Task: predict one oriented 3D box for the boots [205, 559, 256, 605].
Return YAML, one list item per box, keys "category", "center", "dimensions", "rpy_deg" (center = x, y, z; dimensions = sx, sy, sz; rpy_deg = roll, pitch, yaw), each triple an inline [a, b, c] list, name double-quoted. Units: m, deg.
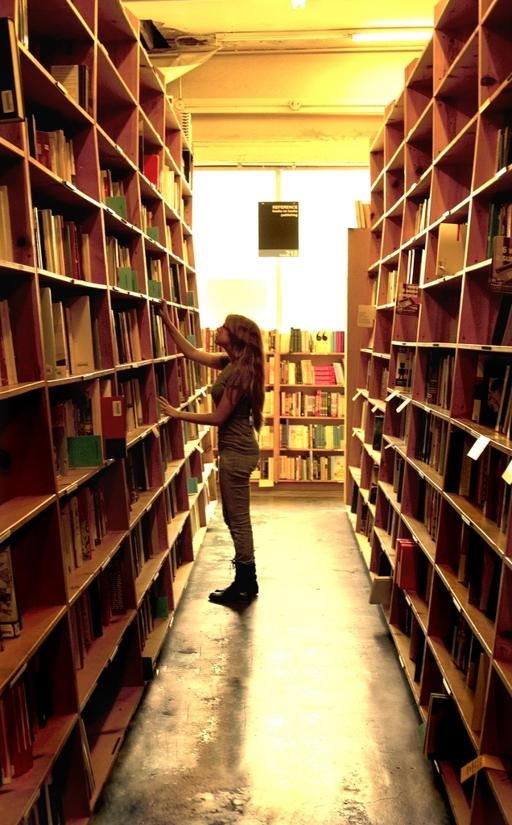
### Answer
- category: "boots"
  center: [-0.188, 1.154, 3.647]
  dimensions: [0.381, 0.351, 0.160]
  rpy_deg: [1, -6, 1]
